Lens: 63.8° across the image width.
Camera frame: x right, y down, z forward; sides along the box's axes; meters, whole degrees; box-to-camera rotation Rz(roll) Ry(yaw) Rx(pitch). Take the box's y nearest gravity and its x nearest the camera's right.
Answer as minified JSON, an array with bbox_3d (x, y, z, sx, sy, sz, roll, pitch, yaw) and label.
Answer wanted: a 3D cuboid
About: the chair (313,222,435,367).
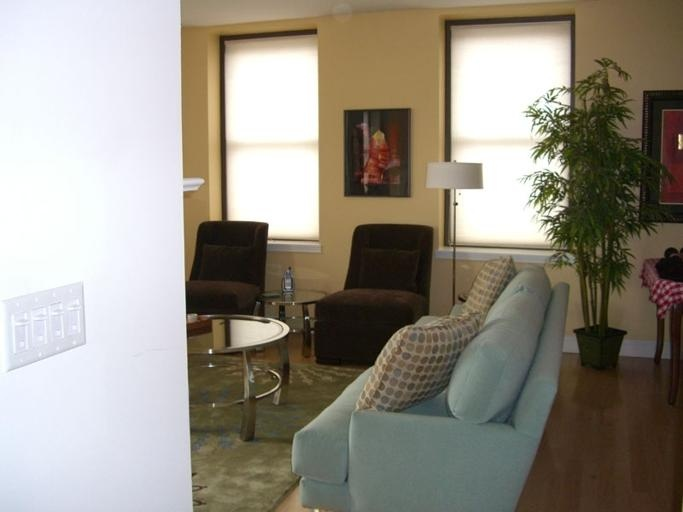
[{"bbox_3d":[0.133,0.282,5.410,1.009,1.509,1.324,0,0,22],"label":"chair"}]

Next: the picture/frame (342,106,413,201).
[{"bbox_3d":[0.405,-1.098,5.695,0.899,1.295,0.118,1,2,16],"label":"picture/frame"}]

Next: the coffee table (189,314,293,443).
[{"bbox_3d":[-0.608,0.722,3.670,0.660,0.537,0.683,-4,11,-33],"label":"coffee table"}]

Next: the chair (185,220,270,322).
[{"bbox_3d":[-1.163,0.093,5.646,0.769,1.148,0.974,1,0,5],"label":"chair"}]

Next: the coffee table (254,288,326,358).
[{"bbox_3d":[-0.490,0.623,5.303,0.605,0.481,0.585,0,5,3],"label":"coffee table"}]

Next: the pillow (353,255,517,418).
[{"bbox_3d":[0.472,0.418,3.110,0.387,0.399,0.871,13,15,33],"label":"pillow"}]
